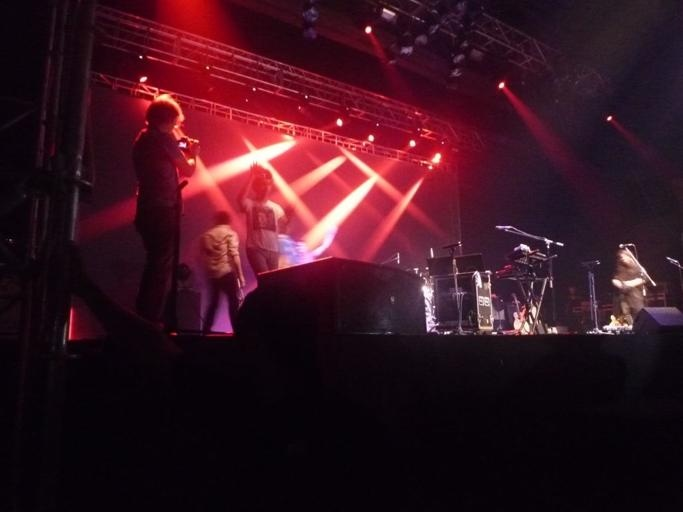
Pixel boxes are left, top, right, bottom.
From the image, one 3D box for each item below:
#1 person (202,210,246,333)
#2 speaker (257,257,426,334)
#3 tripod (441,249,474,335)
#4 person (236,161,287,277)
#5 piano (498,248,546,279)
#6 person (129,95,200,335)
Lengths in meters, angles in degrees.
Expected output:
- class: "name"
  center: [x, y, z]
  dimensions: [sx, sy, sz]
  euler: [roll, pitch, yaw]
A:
- class: "person"
  center: [-1.444, 0.113, 6.639]
  dimensions: [0.521, 1.564, 2.434]
  euler: [4, -8, -10]
- class: "speaker"
  center: [0.077, 0.268, 3.579]
  dimensions: [1.176, 0.461, 0.475]
  euler: [8, -9, -33]
- class: "tripod"
  center: [1.663, 0.441, 7.989]
  dimensions: [0.258, 1.310, 0.594]
  euler: [1, -8, 13]
- class: "person"
  center: [-0.884, -0.405, 6.195]
  dimensions: [0.447, 1.287, 0.626]
  euler: [-1, -8, 21]
- class: "piano"
  center: [2.607, 0.140, 7.680]
  dimensions: [0.575, 0.333, 0.672]
  euler: [5, -12, -24]
- class: "person"
  center: [-1.379, -0.409, 4.219]
  dimensions: [0.480, 1.879, 0.783]
  euler: [6, -8, -23]
